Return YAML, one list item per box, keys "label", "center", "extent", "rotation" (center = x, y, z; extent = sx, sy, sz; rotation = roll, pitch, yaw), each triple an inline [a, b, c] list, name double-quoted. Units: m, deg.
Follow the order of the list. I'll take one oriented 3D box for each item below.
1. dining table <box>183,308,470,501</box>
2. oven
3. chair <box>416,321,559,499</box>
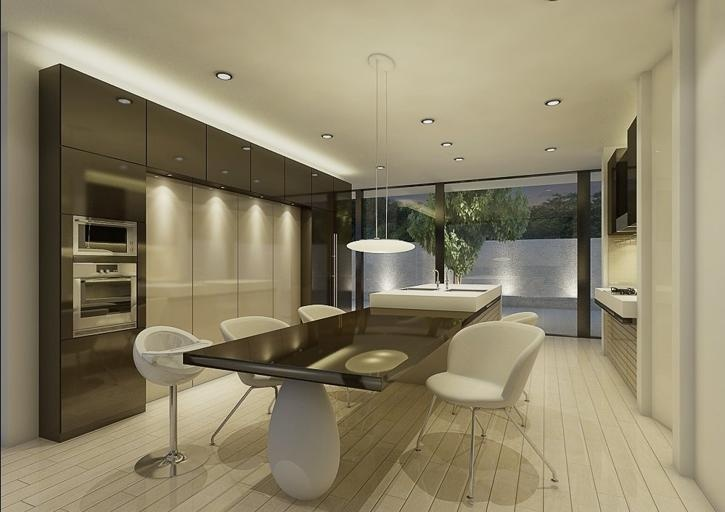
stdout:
- label: "dining table"
  center: [-0.159, 1.106, 3.762]
  extent: [1.448, 1.126, 1.868]
  rotation: [6, 12, 31]
- label: "oven"
  center: [-2.366, 0.413, 4.504]
  extent: [0.593, 0.669, 0.478]
  rotation: [-4, -12, -7]
- label: "chair"
  center: [0.921, 1.121, 3.740]
  extent: [0.815, 1.139, 0.869]
  rotation: [1, 2, -18]
